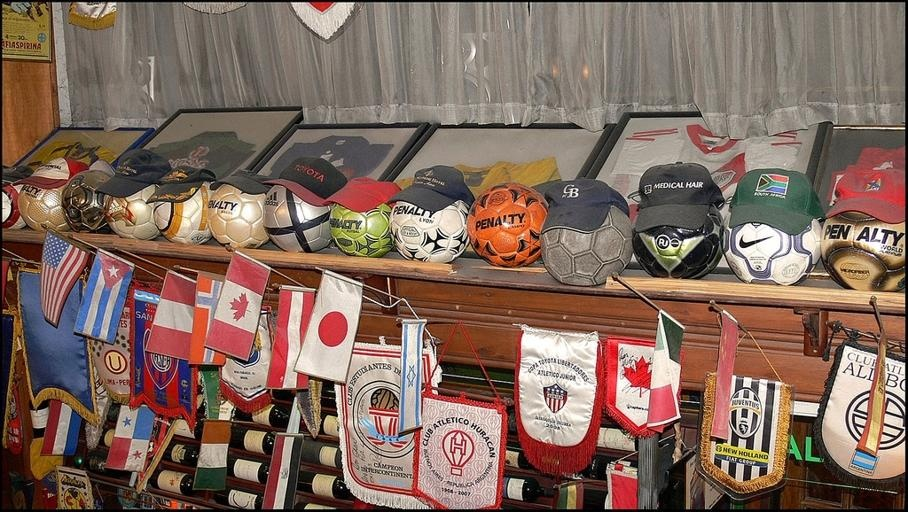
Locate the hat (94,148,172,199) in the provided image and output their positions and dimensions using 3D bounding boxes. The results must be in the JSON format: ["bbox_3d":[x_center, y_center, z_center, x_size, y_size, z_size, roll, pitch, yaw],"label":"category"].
[{"bbox_3d":[-2.759,-0.709,5.958,0.363,0.235,0.548,12,25,30],"label":"hat"}]

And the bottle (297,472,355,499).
[{"bbox_3d":[-1.100,1.954,5.863,0.579,0.179,0.179,3,-48,20],"label":"bottle"}]

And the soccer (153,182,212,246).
[{"bbox_3d":[-2.269,-0.331,5.861,0.538,0.537,0.461,-1,-7,-34],"label":"soccer"}]

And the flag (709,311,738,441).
[{"bbox_3d":[1.830,0.790,4.660,0.151,0.838,0.298,1,-14,15],"label":"flag"}]

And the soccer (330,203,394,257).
[{"bbox_3d":[-0.744,-0.156,5.490,0.509,0.436,0.433,4,-30,-16],"label":"soccer"}]

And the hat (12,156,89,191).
[{"bbox_3d":[-3.671,-0.751,6.298,0.343,0.184,0.534,3,13,37],"label":"hat"}]

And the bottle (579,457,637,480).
[{"bbox_3d":[1.158,1.654,5.338,0.239,0.069,0.233,3,-2,0],"label":"bottle"}]

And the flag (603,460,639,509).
[{"bbox_3d":[1.278,1.748,5.213,0.249,0.323,0.102,2,2,22],"label":"flag"}]

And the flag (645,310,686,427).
[{"bbox_3d":[1.436,0.766,4.675,0.220,0.751,0.309,0,-14,16],"label":"flag"}]

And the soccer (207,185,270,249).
[{"bbox_3d":[-1.785,-0.340,5.724,0.516,0.592,0.514,0,9,-35],"label":"soccer"}]

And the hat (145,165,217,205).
[{"bbox_3d":[-2.294,-0.596,5.817,0.316,0.184,0.463,-8,12,36],"label":"hat"}]

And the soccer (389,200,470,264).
[{"bbox_3d":[-0.181,-0.165,5.358,0.532,0.529,0.487,8,-48,0],"label":"soccer"}]

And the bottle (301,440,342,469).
[{"bbox_3d":[-1.120,1.687,5.913,0.428,0.184,0.186,15,-7,13],"label":"bottle"}]

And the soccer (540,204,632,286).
[{"bbox_3d":[0.939,-0.070,4.877,0.620,0.570,0.268,1,-14,13],"label":"soccer"}]

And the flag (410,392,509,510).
[{"bbox_3d":[0.039,1.470,5.236,0.861,0.979,0.103,5,5,15],"label":"flag"}]

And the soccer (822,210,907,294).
[{"bbox_3d":[2.741,0.020,4.682,0.432,0.568,0.594,2,-9,35],"label":"soccer"}]

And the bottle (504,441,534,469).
[{"bbox_3d":[0.515,1.568,5.396,0.378,0.103,0.092,10,-52,15],"label":"bottle"}]

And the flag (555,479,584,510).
[{"bbox_3d":[0.912,1.872,5.395,0.238,0.256,0.042,-3,-13,19],"label":"flag"}]

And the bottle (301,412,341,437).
[{"bbox_3d":[-1.078,1.447,5.874,0.219,0.157,0.215,-4,1,0],"label":"bottle"}]

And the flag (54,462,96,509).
[{"bbox_3d":[-3.579,2.173,6.521,0.423,0.524,0.054,-7,1,13],"label":"flag"}]

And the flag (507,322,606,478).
[{"bbox_3d":[0.768,1.054,5.030,0.639,1.034,0.348,1,-14,13],"label":"flag"}]
